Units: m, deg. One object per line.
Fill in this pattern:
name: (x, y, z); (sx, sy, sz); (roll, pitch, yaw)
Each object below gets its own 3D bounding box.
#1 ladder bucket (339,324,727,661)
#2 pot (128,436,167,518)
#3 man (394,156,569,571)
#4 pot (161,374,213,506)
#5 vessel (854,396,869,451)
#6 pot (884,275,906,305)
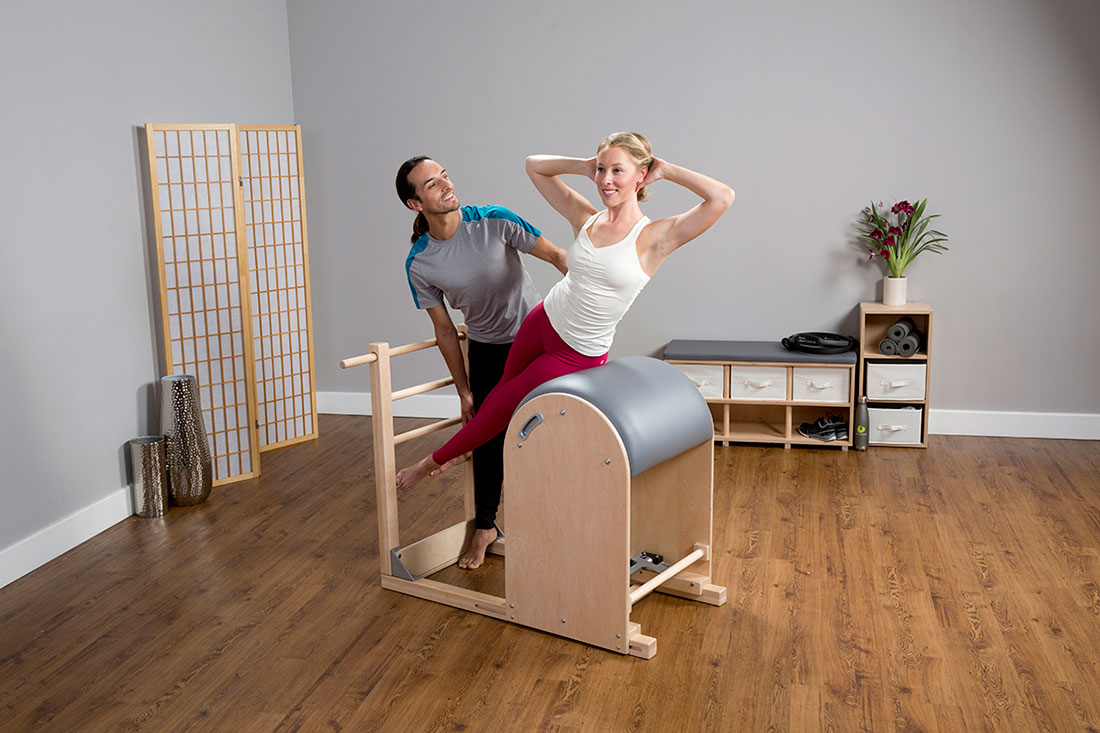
ladder bucket: (0.002, 0.513, 3.504); (1.431, 1.172, 1.158); (4, 9, 31)
pot: (-2.200, 0.606, 4.134); (0.200, 0.394, 0.155); (-6, 14, -20)
man: (-0.202, 0.019, 3.582); (0.934, 2.007, 0.626); (-3, 18, -6)
pot: (-2.047, 0.407, 4.238); (0.233, 0.706, 0.199); (-6, 14, -19)
vessel: (2.004, 0.356, 4.850); (0.081, 0.340, 0.081); (0, 13, 5)
pot: (2.232, -0.498, 4.908); (0.157, 0.197, 0.181); (0, 10, 9)
